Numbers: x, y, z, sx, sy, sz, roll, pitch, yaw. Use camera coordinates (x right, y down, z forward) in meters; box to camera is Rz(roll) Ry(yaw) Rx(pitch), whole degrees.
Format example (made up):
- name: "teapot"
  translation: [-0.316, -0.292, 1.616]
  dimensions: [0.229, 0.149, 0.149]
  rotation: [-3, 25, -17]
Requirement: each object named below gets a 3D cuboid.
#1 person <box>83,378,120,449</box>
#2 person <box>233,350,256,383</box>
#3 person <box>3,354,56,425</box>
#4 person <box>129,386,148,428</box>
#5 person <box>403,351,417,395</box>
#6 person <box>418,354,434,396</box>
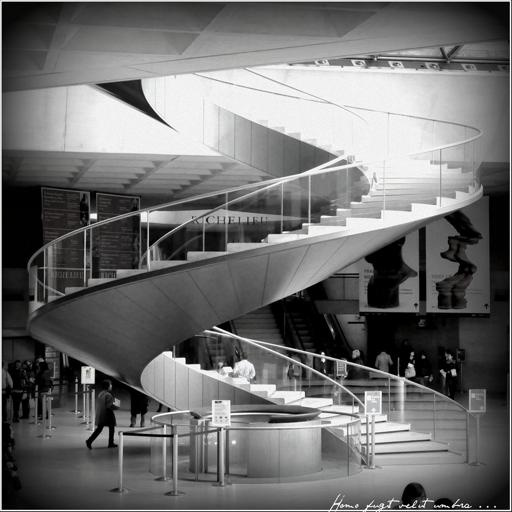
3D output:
- name: "person"
  translation: [-2.551, 2.602, 13.235]
  dimensions: [0.503, 1.113, 1.234]
  rotation: [1, -7, -13]
- name: "person"
  translation: [-0.169, 2.019, 14.598]
  dimensions: [0.479, 0.843, 0.436]
  rotation: [1, 7, 5]
- name: "person"
  translation: [-4.635, 2.716, 16.485]
  dimensions: [0.849, 1.263, 2.215]
  rotation: [2, -7, -17]
- name: "person"
  translation: [-2.227, 2.895, 15.224]
  dimensions: [0.324, 0.657, 0.918]
  rotation: [1, -7, -8]
- name: "person"
  translation: [3.318, 2.492, 17.029]
  dimensions: [0.237, 0.786, 0.743]
  rotation: [2, 4, 9]
- name: "person"
  translation: [3.957, 2.624, 18.638]
  dimensions: [0.316, 0.783, 0.576]
  rotation: [-1, -6, 11]
